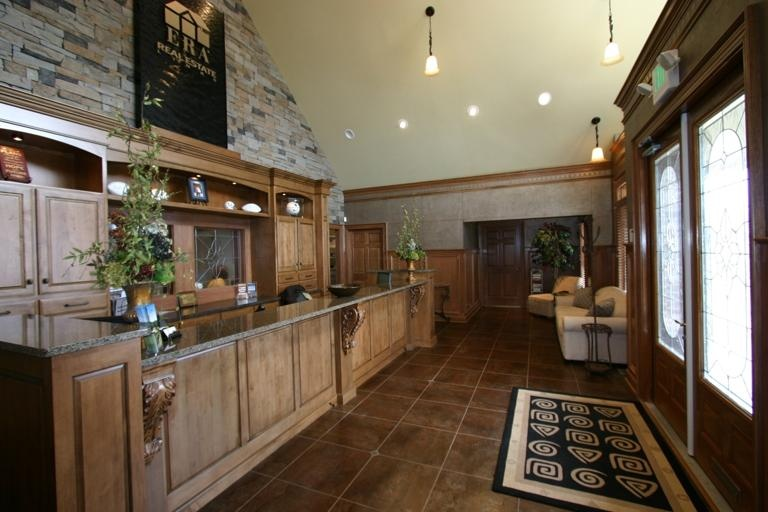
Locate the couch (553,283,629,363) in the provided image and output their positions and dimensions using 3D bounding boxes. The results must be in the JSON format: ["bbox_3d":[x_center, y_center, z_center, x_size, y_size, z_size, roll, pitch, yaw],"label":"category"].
[{"bbox_3d":[2.987,0.592,7.128,0.844,0.820,2.029,0,0,19],"label":"couch"}]

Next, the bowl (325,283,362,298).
[{"bbox_3d":[-0.466,0.423,6.002,0.361,0.089,0.307,-4,2,-9],"label":"bowl"}]

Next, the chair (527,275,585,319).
[{"bbox_3d":[3.455,0.813,10.068,0.882,0.939,0.932,3,-2,-1],"label":"chair"}]

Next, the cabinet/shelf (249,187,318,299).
[{"bbox_3d":[-1.608,-0.253,8.250,0.469,1.215,1.119,-2,3,40],"label":"cabinet/shelf"}]
